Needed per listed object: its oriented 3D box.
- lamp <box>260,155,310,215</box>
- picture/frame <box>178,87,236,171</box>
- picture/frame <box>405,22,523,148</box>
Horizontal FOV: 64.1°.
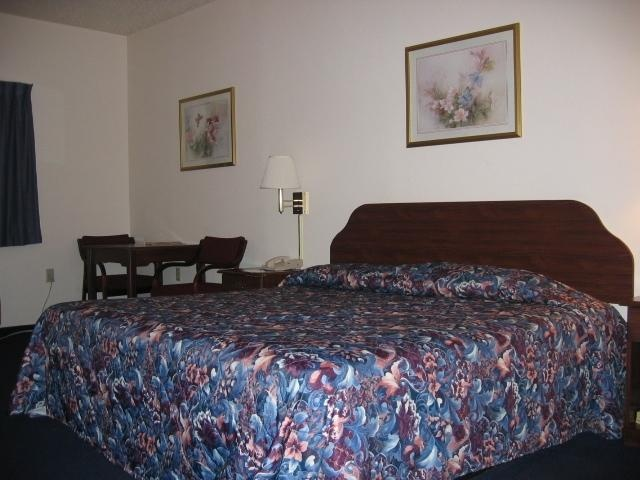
[{"bbox_3d":[-0.300,-0.503,4.709,0.449,0.677,0.540,0,1,40],"label":"lamp"},{"bbox_3d":[-1.262,-1.218,5.673,0.903,0.847,0.035,3,4,37],"label":"picture/frame"},{"bbox_3d":[1.117,-1.177,3.831,0.985,0.910,0.080,0,3,39],"label":"picture/frame"}]
